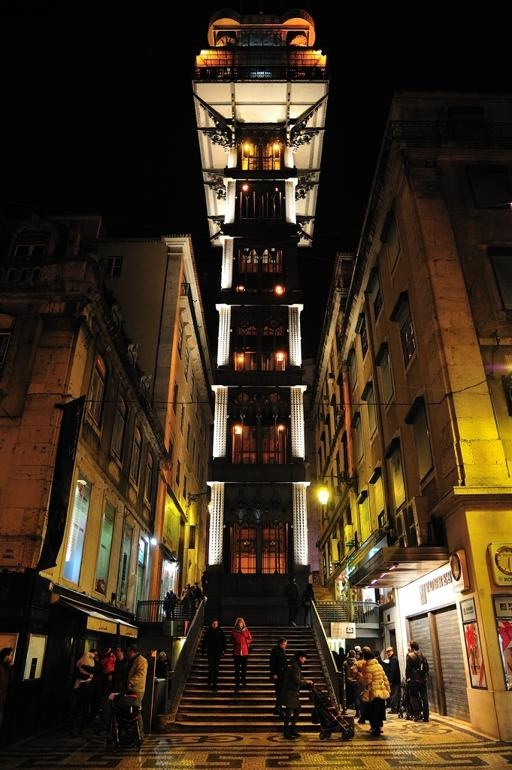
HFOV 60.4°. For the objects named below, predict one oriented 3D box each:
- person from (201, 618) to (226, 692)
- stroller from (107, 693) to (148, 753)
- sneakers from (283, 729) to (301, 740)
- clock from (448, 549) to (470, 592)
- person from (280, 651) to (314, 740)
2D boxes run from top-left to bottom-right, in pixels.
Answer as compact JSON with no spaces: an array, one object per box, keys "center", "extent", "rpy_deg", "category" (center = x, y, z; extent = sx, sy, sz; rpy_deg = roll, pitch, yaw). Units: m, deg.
[{"center":[-1.152,7.476,12.208],"extent":[0.535,1.641,0.759],"rpy_deg":[8,-27,-19],"category":"person"},{"center":[-2.158,5.580,7.393],"extent":[0.542,0.816,1.789],"rpy_deg":[6,-30,-14],"category":"stroller"},{"center":[0.705,6.614,8.326],"extent":[0.357,0.147,0.176],"rpy_deg":[20,-34,-34],"category":"sneakers"},{"center":[4.803,4.381,10.384],"extent":[0.216,0.922,0.901],"rpy_deg":[-4,-27,8],"category":"clock"},{"center":[0.786,5.940,8.469],"extent":[0.430,1.464,0.474],"rpy_deg":[19,-22,-33],"category":"person"}]
